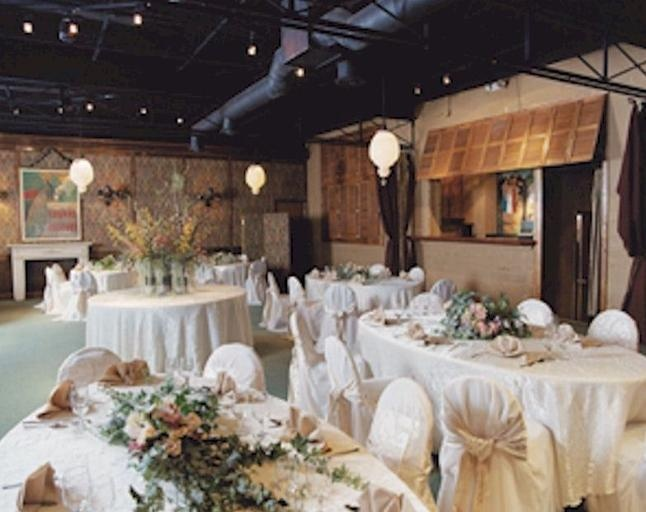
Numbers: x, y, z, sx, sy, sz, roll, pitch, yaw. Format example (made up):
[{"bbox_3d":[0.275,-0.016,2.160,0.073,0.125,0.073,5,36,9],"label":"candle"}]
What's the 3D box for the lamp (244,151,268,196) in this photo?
[{"bbox_3d":[-1.337,-1.539,10.982,0.375,0.659,0.374,15,-23,-31],"label":"lamp"}]
